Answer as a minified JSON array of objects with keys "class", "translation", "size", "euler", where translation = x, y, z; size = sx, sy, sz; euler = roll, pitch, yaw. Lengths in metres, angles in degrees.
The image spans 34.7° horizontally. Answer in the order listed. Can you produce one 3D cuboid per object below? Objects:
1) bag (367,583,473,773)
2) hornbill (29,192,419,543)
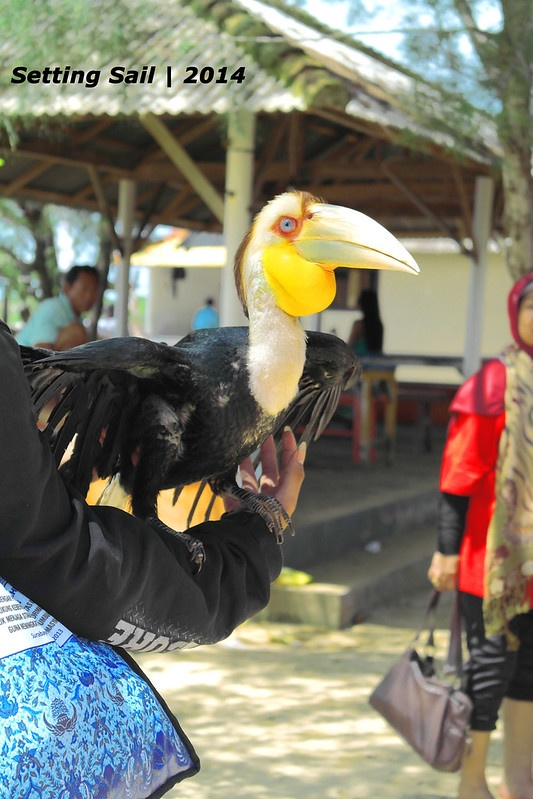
[{"class":"bag","translation":[0.467,0.823,2.448],"size":[0.275,0.543,0.322],"euler":[2,3,31]},{"class":"hornbill","translation":[-0.157,-0.056,1.713],"size":[0.721,0.410,0.880],"euler":[0,3,35]}]
